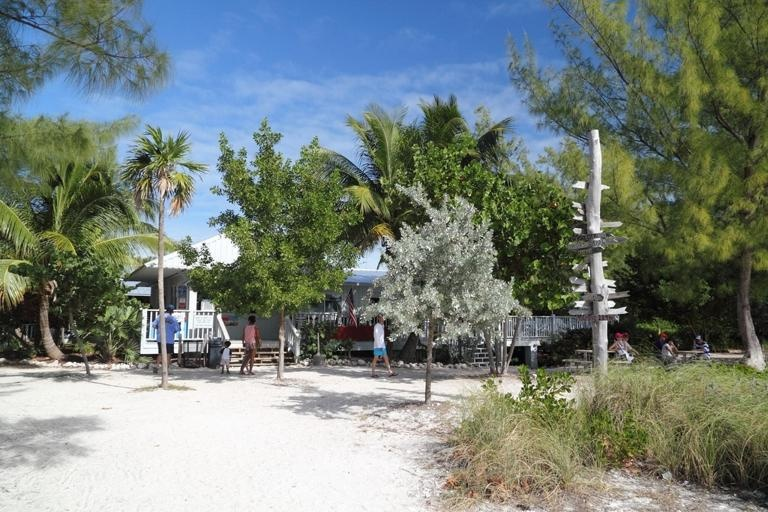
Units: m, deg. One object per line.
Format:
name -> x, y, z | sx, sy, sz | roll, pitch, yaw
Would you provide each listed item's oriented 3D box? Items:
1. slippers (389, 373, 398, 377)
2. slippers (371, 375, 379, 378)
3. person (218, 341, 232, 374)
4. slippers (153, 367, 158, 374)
slippers -> 0.367, 4.454, 24.892 | 0.413, 0.203, 0.138 | -2, 1, -6
slippers -> -0.331, 4.442, 24.533 | 0.219, 0.100, 0.085 | -3, -5, 22
person -> -6.315, 4.006, 26.152 | 0.629, 0.492, 1.621 | 10, -55, 2
slippers -> -8.752, 4.367, 25.361 | 0.173, 0.271, 0.254 | 4, -6, -23
